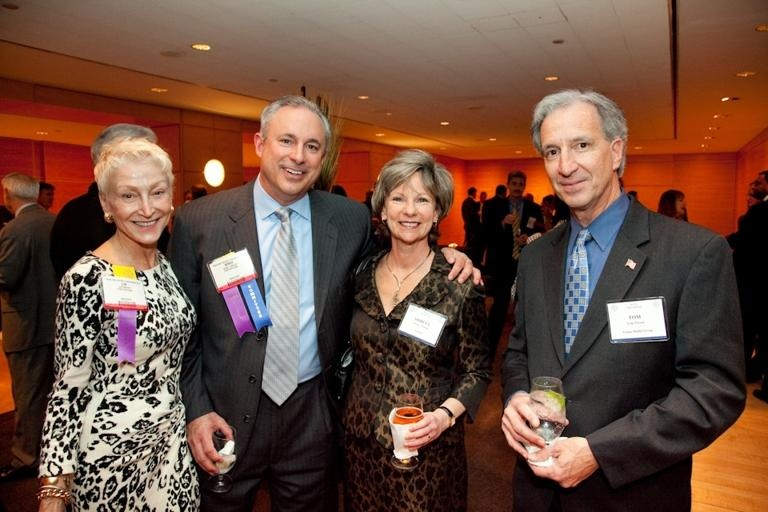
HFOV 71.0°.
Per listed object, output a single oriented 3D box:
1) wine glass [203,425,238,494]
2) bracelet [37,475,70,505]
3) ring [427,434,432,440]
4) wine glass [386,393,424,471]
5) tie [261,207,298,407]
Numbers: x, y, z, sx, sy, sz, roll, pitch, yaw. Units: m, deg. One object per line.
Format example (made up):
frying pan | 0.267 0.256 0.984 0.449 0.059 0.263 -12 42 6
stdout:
wine glass | -0.911 1.169 3.020 0.159 0.376 0.116 -1 9 -20
bracelet | -1.617 1.142 2.650 0.120 0.101 0.147 -2 -13 7
ring | 0.237 0.975 2.917 0.026 0.035 0.009 -2 1 -8
wine glass | 0.109 0.984 3.012 0.178 0.452 0.235 2 8 0
tie | -0.607 0.284 3.170 0.198 1.116 0.295 1 8 -9
